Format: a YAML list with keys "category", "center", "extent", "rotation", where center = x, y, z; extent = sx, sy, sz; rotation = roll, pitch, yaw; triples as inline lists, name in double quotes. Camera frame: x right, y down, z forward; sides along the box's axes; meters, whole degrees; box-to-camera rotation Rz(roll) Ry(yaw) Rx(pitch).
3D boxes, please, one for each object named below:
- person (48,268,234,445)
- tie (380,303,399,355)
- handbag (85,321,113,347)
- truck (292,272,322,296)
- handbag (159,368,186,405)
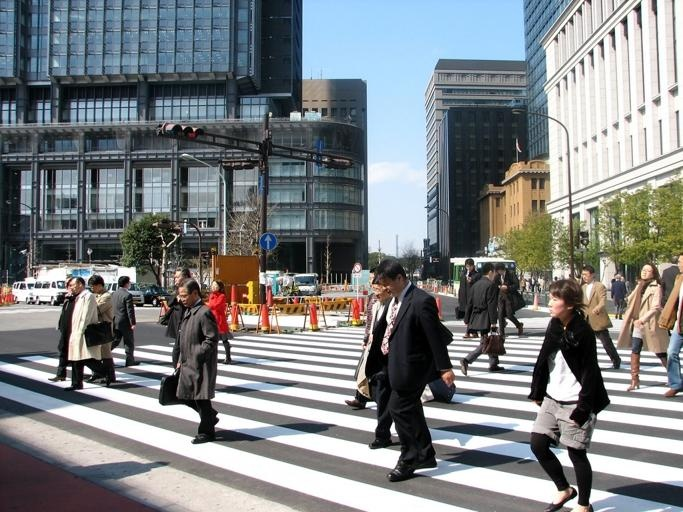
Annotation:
- category: "person"
  center: [-2.073, 1.480, 9.273]
  extent: [0.737, 2.323, 0.563]
  rotation: [0, 0, -7]
- category: "tie"
  center: [0.592, 1.022, 8.771]
  extent: [0.059, 0.575, 0.156]
  rotation: [8, 1, -11]
- category: "handbag"
  center: [-4.438, 1.404, 12.179]
  extent: [0.426, 0.435, 0.141]
  rotation: [-11, 10, -42]
- category: "truck"
  center: [-2.515, 2.039, 48.653]
  extent: [1.705, 1.702, 3.525]
  rotation: [-1, -4, 0]
- category: "handbag"
  center: [-2.355, 1.831, 9.227]
  extent: [0.274, 0.512, 0.319]
  rotation: [0, 1, -15]
